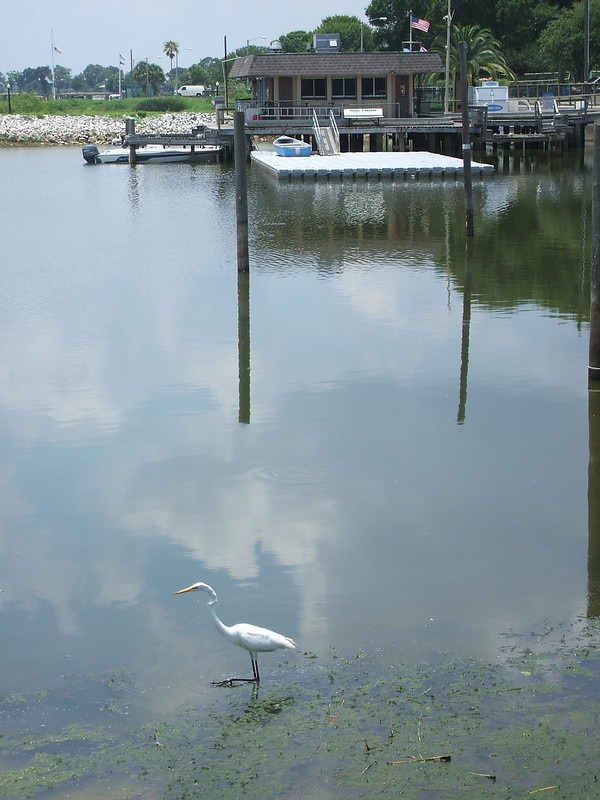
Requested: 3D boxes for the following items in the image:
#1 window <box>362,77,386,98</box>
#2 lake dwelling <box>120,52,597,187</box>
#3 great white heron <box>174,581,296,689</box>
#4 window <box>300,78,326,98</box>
[{"bbox_3d":[3.700,-15.995,61.751,0.903,0.707,0.082,2,3,20],"label":"window"},{"bbox_3d":[5.986,-15.248,62.159,17.882,5.997,23.062,-14,17,-39],"label":"lake dwelling"},{"bbox_3d":[-0.404,1.765,9.225,0.794,0.806,0.272,-3,5,-17],"label":"great white heron"},{"bbox_3d":[0.643,-15.885,61.429,1.559,0.208,1.490,-2,-24,0],"label":"window"}]
